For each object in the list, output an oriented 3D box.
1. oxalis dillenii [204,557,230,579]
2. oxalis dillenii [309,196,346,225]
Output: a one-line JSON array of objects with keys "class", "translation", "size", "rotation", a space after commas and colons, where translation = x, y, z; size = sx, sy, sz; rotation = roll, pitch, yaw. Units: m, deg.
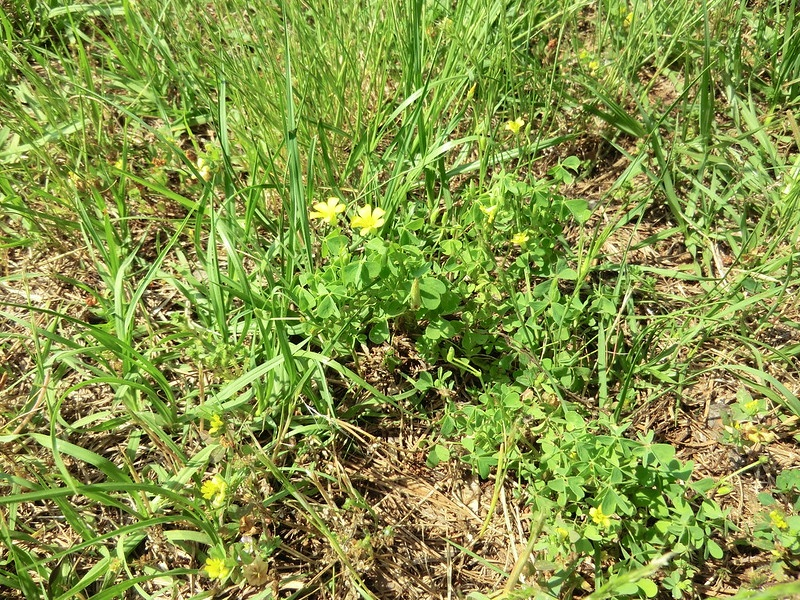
[{"class": "oxalis dillenii", "translation": [-0.669, 0.986, 2.476], "size": [0.078, 0.037, 0.075], "rotation": [47, 54, -8]}, {"class": "oxalis dillenii", "translation": [-0.325, -0.394, 2.988], "size": [0.120, 0.056, 0.120], "rotation": [-39, 49, 0]}]
